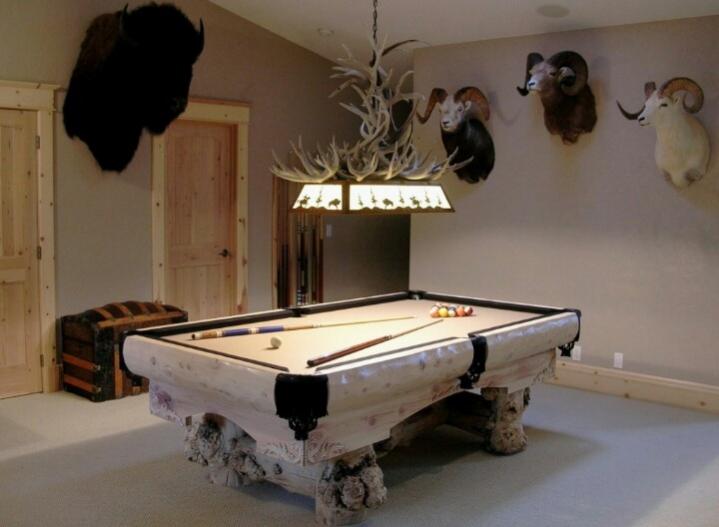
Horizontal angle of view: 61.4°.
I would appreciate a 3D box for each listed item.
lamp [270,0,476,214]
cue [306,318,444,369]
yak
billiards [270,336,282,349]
[{"bbox_3d":[0.145,-1.483,5.504,1.922,2.131,2.055,0,5,-5],"label":"lamp"},{"bbox_3d":[0.094,0.518,3.814,0.045,0.046,1.056,-8,5,36],"label":"cue"},{"bbox_3d":[-2.162,-1.702,5.851,1.067,1.618,0.408,13,8,-45],"label":"yak"},{"bbox_3d":[-0.515,0.485,3.759,0.074,0.071,0.098,-1,11,-9],"label":"billiards"}]
